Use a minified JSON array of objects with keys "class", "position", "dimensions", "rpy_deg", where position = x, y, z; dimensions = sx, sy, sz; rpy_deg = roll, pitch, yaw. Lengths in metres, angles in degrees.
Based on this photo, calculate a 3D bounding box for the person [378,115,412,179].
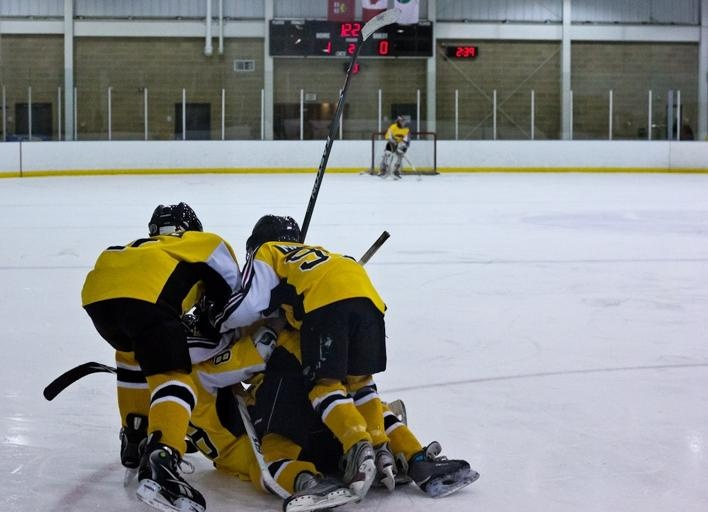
[{"class":"person","position":[0.651,-1.808,17.699],"dimensions":[0.483,1.044,1.403],"rpy_deg":[1,5,1]}]

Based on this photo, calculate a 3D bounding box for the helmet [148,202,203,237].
[{"class":"helmet","position":[-1.035,-0.191,6.117],"dimensions":[0.235,0.235,0.196],"rpy_deg":[-12,-4,-15]}]

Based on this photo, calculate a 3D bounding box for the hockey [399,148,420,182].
[{"class":"hockey","position":[0.960,-1.493,18.152],"dimensions":[0.162,0.562,0.538],"rpy_deg":[-17,-10,-9]}]

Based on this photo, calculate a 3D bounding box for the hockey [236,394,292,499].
[{"class":"hockey","position":[-0.542,1.064,5.792],"dimensions":[0.134,0.798,0.073],"rpy_deg":[-21,34,-23]}]

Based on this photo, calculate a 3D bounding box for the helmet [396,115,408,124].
[{"class":"helmet","position":[0.773,-2.207,17.403],"dimensions":[0.276,0.147,0.394],"rpy_deg":[0,6,2]}]
